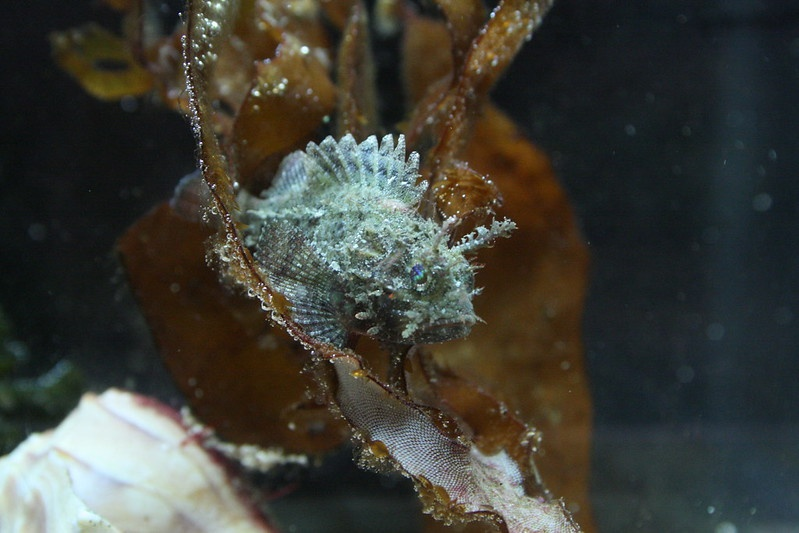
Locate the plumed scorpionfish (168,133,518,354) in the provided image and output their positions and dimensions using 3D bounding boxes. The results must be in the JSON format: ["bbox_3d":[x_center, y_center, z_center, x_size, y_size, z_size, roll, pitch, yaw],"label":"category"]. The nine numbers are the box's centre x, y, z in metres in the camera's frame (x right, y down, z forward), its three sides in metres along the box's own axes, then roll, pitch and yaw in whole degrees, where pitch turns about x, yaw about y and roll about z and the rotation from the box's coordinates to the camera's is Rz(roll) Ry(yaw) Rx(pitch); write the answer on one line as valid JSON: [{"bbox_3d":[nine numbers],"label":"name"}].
[{"bbox_3d":[-0.101,-0.065,2.494,0.715,0.314,0.531,38,86,3],"label":"plumed scorpionfish"}]
